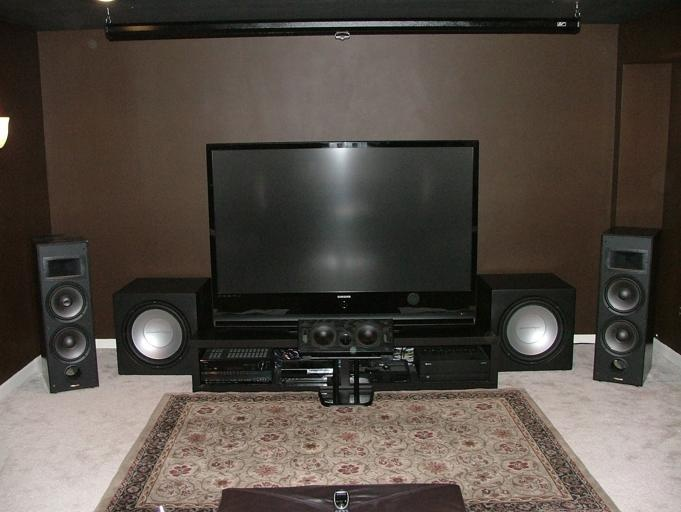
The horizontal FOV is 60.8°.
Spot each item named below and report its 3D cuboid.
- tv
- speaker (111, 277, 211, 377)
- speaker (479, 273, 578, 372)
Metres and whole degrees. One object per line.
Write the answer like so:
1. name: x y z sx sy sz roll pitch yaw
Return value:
1. tv: 0.013 -0.226 4.260 1.437 0.096 0.920 0 -83 0
2. speaker: -1.361 0.584 4.574 0.705 0.552 0.629 0 -86 14
3. speaker: 1.427 0.529 4.507 0.676 0.685 0.709 -3 -81 2
